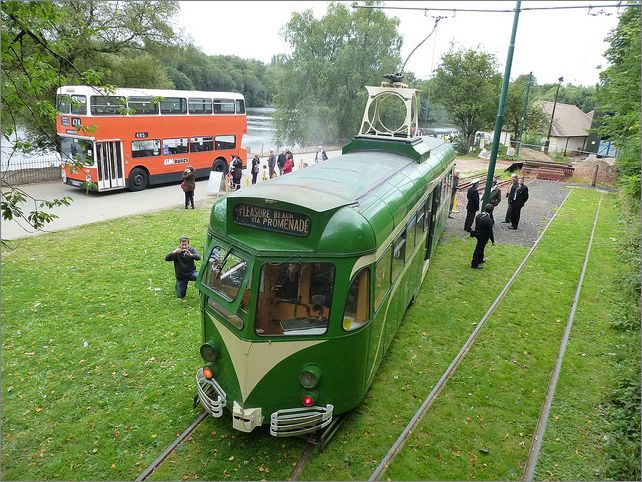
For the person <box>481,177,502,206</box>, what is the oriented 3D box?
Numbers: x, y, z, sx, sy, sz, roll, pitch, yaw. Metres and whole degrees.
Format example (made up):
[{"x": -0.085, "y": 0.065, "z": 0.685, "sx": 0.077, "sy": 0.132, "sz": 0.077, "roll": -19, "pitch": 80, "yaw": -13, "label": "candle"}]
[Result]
[{"x": 7.384, "y": -2.019, "z": 18.322, "sx": 0.419, "sy": 1.062, "sz": 1.100, "roll": 6, "pitch": 14, "yaw": 21, "label": "person"}]

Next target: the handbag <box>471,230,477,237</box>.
[{"x": 5.437, "y": -0.227, "z": 15.412, "sx": 0.217, "sy": 0.238, "sz": 0.408, "roll": 10, "pitch": 8, "yaw": 12, "label": "handbag"}]

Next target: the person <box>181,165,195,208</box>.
[{"x": -6.114, "y": -2.416, "z": 19.720, "sx": 0.532, "sy": 2.001, "sz": 1.396, "roll": -3, "pitch": 14, "yaw": -17, "label": "person"}]

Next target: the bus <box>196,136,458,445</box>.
[{"x": 1.090, "y": -0.023, "z": 11.536, "sx": 3.165, "sy": 5.287, "sz": 10.788, "roll": 7, "pitch": 15, "yaw": 26, "label": "bus"}]

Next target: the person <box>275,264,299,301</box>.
[{"x": -0.552, "y": 0.665, "z": 7.463, "sx": 0.464, "sy": 0.884, "sz": 0.472, "roll": -2, "pitch": 9, "yaw": -5, "label": "person"}]

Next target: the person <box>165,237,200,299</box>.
[{"x": -3.813, "y": 0.757, "z": 11.857, "sx": 0.813, "sy": 1.752, "sz": 1.056, "roll": -4, "pitch": 14, "yaw": -22, "label": "person"}]
